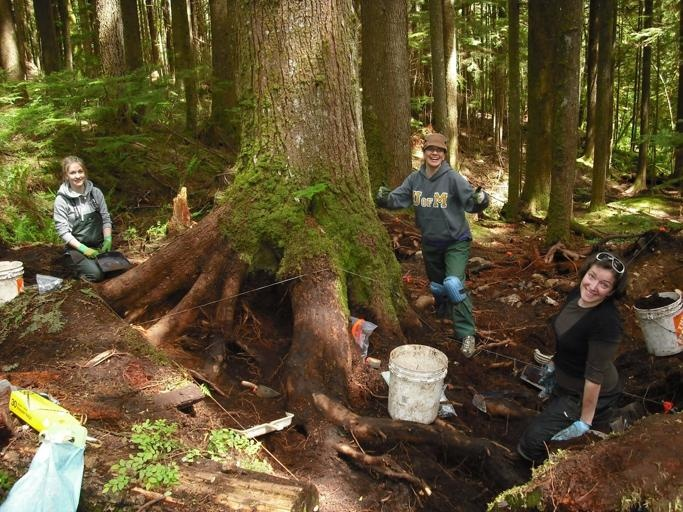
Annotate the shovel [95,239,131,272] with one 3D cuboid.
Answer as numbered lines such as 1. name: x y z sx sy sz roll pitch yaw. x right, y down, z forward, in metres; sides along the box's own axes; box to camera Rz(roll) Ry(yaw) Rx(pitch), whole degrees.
1. shovel: -3.157 0.085 7.389 0.432 0.262 0.453 -9 14 -23

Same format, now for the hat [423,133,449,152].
1. hat: 1.200 -1.440 6.820 0.292 0.219 0.236 -2 13 5

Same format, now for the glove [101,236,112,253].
1. glove: -3.443 -0.171 7.826 0.162 0.194 0.203 4 51 -28

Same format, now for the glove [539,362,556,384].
1. glove: 2.254 1.285 5.818 0.088 0.241 0.177 18 12 6

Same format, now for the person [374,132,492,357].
1. person: 1.335 -0.166 7.158 1.287 2.873 0.632 9 18 40

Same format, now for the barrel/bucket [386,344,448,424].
1. barrel/bucket: 0.828 1.470 5.995 0.651 0.663 0.605 5 11 -1

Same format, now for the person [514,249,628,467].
1. person: 2.306 1.007 5.277 0.733 2.050 0.857 7 17 36

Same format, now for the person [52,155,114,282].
1. person: -3.666 -0.578 7.510 0.682 1.567 0.978 -8 15 -20

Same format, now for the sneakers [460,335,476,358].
1. sneakers: 1.678 1.187 7.054 0.137 0.317 0.135 6 7 35

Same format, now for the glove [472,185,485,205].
1. glove: 1.713 -0.756 6.709 0.152 0.202 0.207 -7 1 11
